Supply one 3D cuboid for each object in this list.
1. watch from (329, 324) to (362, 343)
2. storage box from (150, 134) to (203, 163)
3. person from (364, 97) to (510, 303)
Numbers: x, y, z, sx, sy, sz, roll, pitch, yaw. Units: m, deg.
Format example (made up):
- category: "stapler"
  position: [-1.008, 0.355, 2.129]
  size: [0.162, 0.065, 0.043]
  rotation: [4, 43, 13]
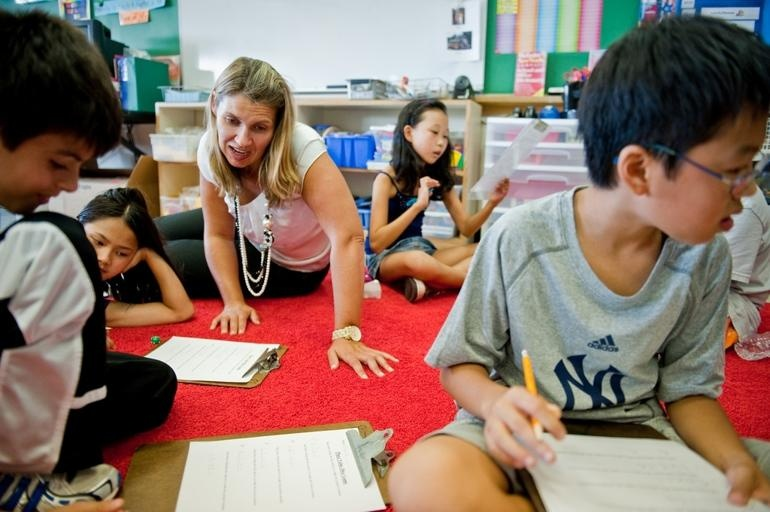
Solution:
- category: "watch"
  position: [-0.121, 0.241, 1.702]
  size: [0.075, 0.047, 0.074]
  rotation: [-14, -3, -39]
- category: "storage box"
  position: [-1.242, -0.646, 3.258]
  size: [0.192, 0.116, 0.280]
  rotation: [0, 3, 1]
- category: "person"
  position: [0.216, -0.275, 2.477]
  size: [0.660, 0.842, 0.620]
  rotation: [-6, 12, -27]
